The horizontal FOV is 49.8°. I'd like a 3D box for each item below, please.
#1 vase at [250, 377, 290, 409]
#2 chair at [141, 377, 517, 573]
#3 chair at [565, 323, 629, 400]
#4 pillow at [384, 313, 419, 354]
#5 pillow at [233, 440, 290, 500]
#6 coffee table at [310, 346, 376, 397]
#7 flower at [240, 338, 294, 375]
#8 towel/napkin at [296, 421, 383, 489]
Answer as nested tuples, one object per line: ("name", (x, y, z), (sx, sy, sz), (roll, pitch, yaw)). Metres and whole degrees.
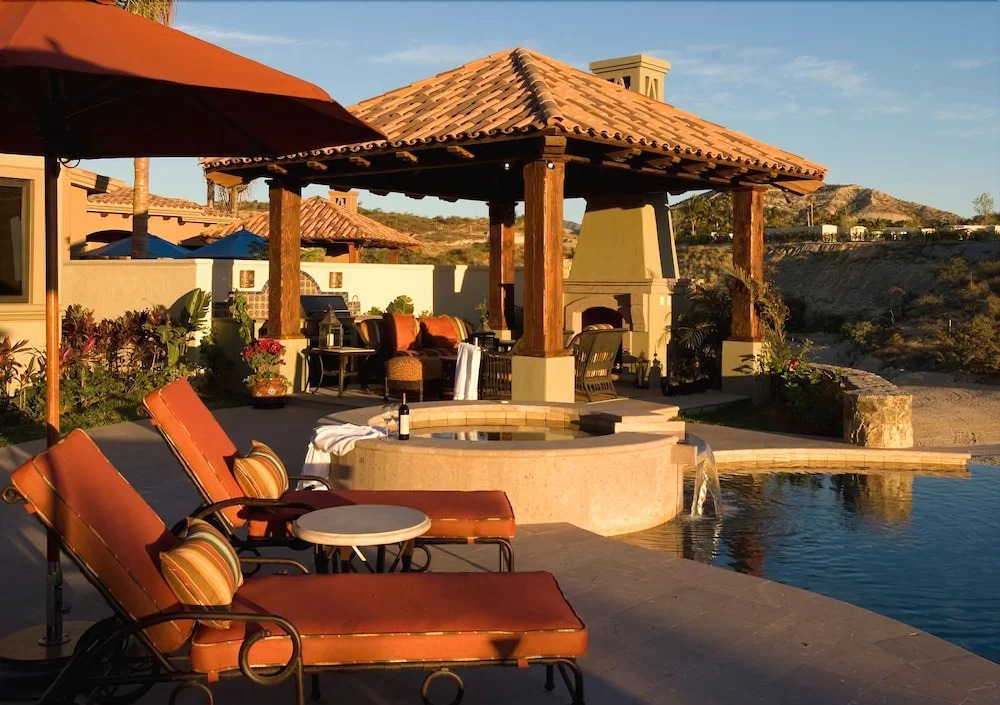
("vase", (-3.602, 0.628, 16.823), (0.505, 0.377, 0.496), (0, -3, -5))
("chair", (-1.330, 1.045, 8.871), (2.892, 1.440, 1.323), (2, 5, -6))
("chair", (1.419, 0.169, 16.237), (1.008, 1.078, 0.637), (-2, 3, -22))
("pillow", (-1.630, -0.288, 17.531), (0.232, 0.452, 0.675), (1, 4, 27))
("pillow", (-1.954, 1.002, 8.942), (0.386, 0.333, 0.904), (13, 6, -3))
("coffee table", (-2.615, 0.235, 17.660), (0.908, 0.829, 0.940), (2, 3, 34))
("flower", (-3.702, 0.016, 17.114), (0.601, 0.631, 0.660), (-7, 6, -31))
("towel/napkin", (-1.628, 0.949, 10.640), (0.884, 0.570, 0.729), (-1, 7, -43))
